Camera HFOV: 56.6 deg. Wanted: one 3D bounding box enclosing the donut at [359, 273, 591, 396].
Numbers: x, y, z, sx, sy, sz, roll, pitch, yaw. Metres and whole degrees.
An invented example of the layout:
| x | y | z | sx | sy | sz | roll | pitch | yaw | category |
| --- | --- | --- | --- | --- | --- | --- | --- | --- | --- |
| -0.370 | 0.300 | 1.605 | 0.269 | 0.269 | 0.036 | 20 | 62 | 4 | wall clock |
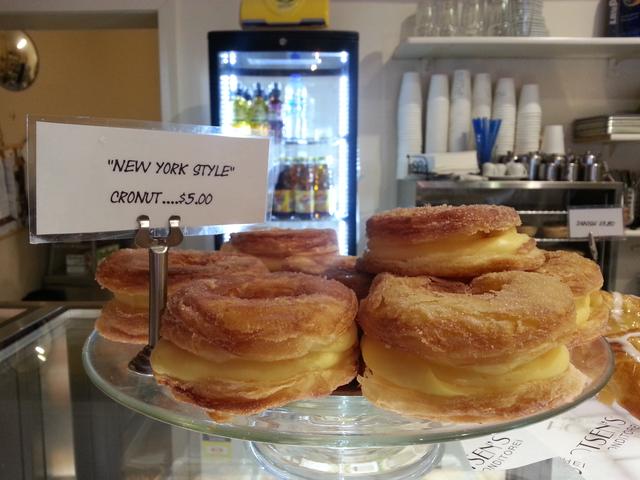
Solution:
| x | y | z | sx | sy | sz | roll | pitch | yaw | category |
| --- | --- | --- | --- | --- | --- | --- | --- | --- | --- |
| 0.303 | 0.181 | 1.308 | 0.487 | 0.182 | 0.489 | -2 | 10 | -2 | donut |

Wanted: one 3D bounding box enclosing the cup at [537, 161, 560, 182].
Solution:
| x | y | z | sx | sy | sz | roll | pitch | yaw | category |
| --- | --- | --- | --- | --- | --- | --- | --- | --- | --- |
| 1.154 | -0.345 | 3.028 | 0.107 | 0.099 | 0.105 | 1 | 0 | 0 | cup |

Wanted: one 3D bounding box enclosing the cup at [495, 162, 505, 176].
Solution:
| x | y | z | sx | sy | sz | roll | pitch | yaw | category |
| --- | --- | --- | --- | --- | --- | --- | --- | --- | --- |
| 0.907 | -0.356 | 3.016 | 0.046 | 0.056 | 0.120 | 1 | 9 | 18 | cup |

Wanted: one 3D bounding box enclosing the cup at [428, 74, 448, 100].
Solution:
| x | y | z | sx | sy | sz | roll | pitch | yaw | category |
| --- | --- | --- | --- | --- | --- | --- | --- | --- | --- |
| 0.633 | -0.825 | 3.200 | 0.130 | 0.132 | 0.127 | 0 | 9 | 0 | cup |

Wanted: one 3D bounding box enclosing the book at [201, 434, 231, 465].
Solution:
| x | y | z | sx | sy | sz | roll | pitch | yaw | category |
| --- | --- | --- | --- | --- | --- | --- | --- | --- | --- |
| -0.236 | 0.477 | 1.360 | 0.067 | 0.049 | 0.072 | -2 | 9 | 3 | book |

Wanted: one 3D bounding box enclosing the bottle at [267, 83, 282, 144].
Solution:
| x | y | z | sx | sy | sz | roll | pitch | yaw | category |
| --- | --- | --- | --- | --- | --- | --- | --- | --- | --- |
| -0.247 | -0.717 | 3.273 | 0.062 | 0.297 | 0.090 | 0 | 9 | 16 | bottle |

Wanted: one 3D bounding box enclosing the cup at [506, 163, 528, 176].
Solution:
| x | y | z | sx | sy | sz | roll | pitch | yaw | category |
| --- | --- | --- | --- | --- | --- | --- | --- | --- | --- |
| 0.991 | -0.352 | 3.007 | 0.087 | 0.065 | 0.069 | 5 | -5 | -2 | cup |

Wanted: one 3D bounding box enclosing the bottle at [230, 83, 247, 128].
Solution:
| x | y | z | sx | sy | sz | roll | pitch | yaw | category |
| --- | --- | --- | --- | --- | --- | --- | --- | --- | --- |
| -0.434 | -0.737 | 3.218 | 0.074 | 0.234 | 0.122 | 1 | 9 | 20 | bottle |

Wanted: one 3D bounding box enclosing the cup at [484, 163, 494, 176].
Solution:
| x | y | z | sx | sy | sz | roll | pitch | yaw | category |
| --- | --- | --- | --- | --- | --- | --- | --- | --- | --- |
| 0.842 | -0.354 | 2.989 | 0.055 | 0.053 | 0.056 | 3 | -4 | 0 | cup |

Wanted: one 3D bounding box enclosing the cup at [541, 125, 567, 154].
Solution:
| x | y | z | sx | sy | sz | roll | pitch | yaw | category |
| --- | --- | --- | --- | --- | --- | --- | --- | --- | --- |
| 1.273 | -0.548 | 3.272 | 0.146 | 0.162 | 0.157 | -1 | 3 | 0 | cup |

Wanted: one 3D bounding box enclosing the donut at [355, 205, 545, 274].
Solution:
| x | y | z | sx | sy | sz | roll | pitch | yaw | category |
| --- | --- | --- | --- | --- | --- | --- | --- | --- | --- |
| 0.295 | -0.001 | 1.477 | 0.427 | 0.165 | 0.477 | -6 | 3 | -28 | donut |

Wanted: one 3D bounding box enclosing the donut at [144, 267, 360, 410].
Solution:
| x | y | z | sx | sy | sz | roll | pitch | yaw | category |
| --- | --- | --- | --- | --- | --- | --- | --- | --- | --- |
| -0.143 | 0.194 | 1.293 | 0.442 | 0.206 | 0.460 | 7 | 11 | 24 | donut |

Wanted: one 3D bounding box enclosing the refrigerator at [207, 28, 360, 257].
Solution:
| x | y | z | sx | sy | sz | roll | pitch | yaw | category |
| --- | --- | --- | --- | --- | --- | --- | --- | --- | --- |
| -0.188 | -0.505 | 3.204 | 0.765 | 1.216 | 0.515 | -3 | 9 | -2 | refrigerator |

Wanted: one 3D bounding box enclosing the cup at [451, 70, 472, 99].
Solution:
| x | y | z | sx | sy | sz | roll | pitch | yaw | category |
| --- | --- | --- | --- | --- | --- | --- | --- | --- | --- |
| 0.764 | -0.846 | 3.225 | 0.106 | 0.158 | 0.069 | 0 | 9 | 15 | cup |
